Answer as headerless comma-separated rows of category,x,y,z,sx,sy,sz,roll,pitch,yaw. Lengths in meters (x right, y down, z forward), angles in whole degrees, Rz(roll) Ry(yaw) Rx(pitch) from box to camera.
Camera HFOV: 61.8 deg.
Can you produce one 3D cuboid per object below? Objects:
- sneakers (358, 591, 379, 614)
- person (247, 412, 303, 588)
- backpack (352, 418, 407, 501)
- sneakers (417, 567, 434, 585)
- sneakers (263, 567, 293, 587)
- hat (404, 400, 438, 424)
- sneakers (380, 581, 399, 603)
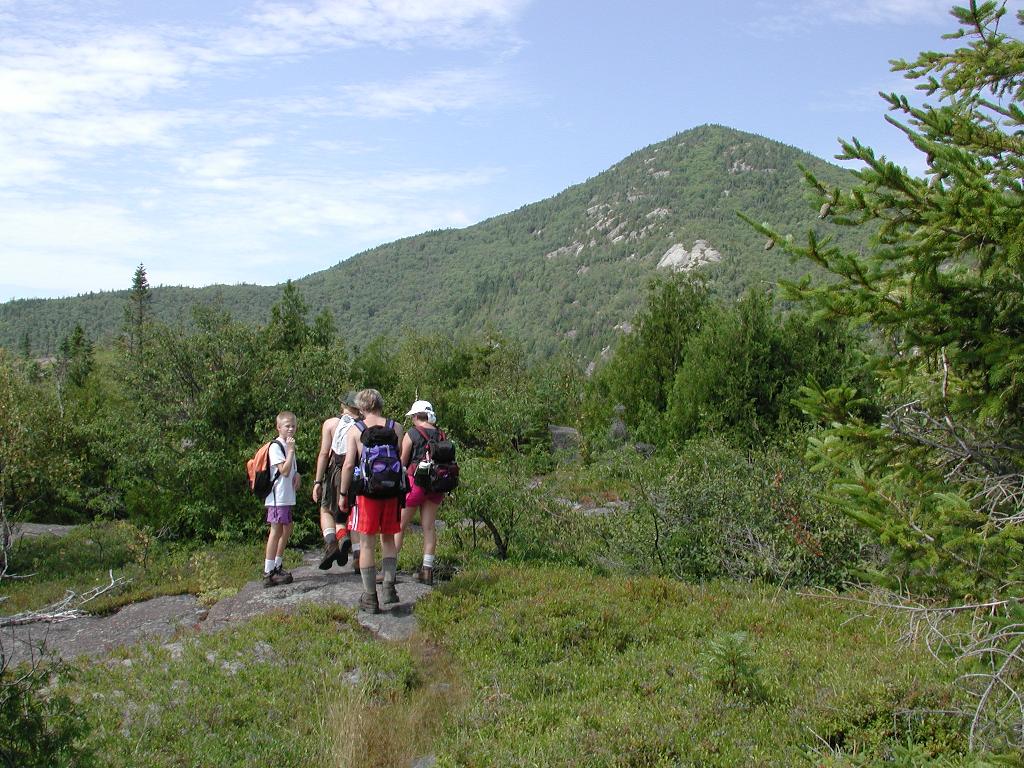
sneakers,-1.935,2.972,11.638,0.158,0.246,0.325,0,11,-18
person,-3.527,1.718,12.718,0.599,2.533,0.478,-2,2,-14
backpack,-1.805,1.061,11.555,0.654,0.966,0.479,-2,2,-12
sneakers,-1.284,2.900,12.934,0.228,0.290,0.237,-1,-11,3
sneakers,-3.477,2.863,12.773,0.416,0.228,0.187,-3,5,-26
hat,-1.381,0.370,12.853,0.415,0.246,0.315,16,5,29
sneakers,-1.700,2.917,12.013,0.263,0.319,0.231,-2,2,-10
